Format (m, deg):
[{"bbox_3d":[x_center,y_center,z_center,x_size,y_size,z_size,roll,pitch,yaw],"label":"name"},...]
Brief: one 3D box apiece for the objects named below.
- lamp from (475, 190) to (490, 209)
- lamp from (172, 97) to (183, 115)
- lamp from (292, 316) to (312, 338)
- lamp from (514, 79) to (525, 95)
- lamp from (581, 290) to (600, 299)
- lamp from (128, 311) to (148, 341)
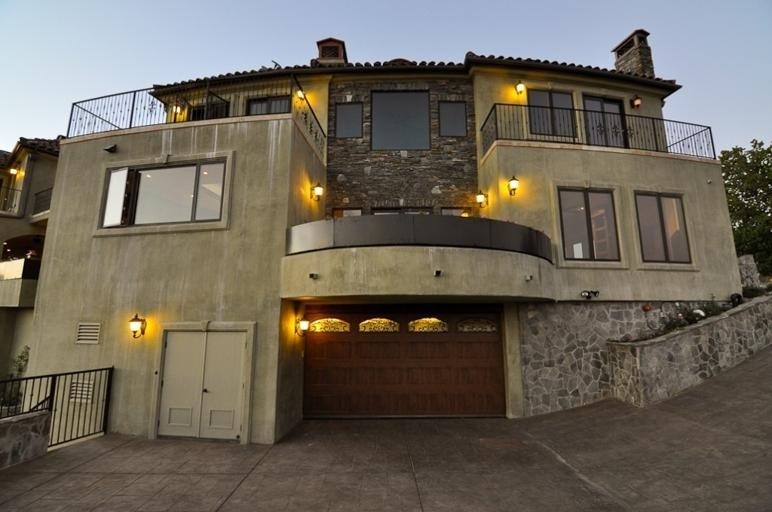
[{"bbox_3d":[3.375,-1.961,15.504,0.567,0.946,0.381,1,-1,-5],"label":"lamp"},{"bbox_3d":[-7.885,-5.725,16.893,0.364,0.627,0.860,-6,13,-25],"label":"lamp"},{"bbox_3d":[-2.558,2.251,14.105,0.514,0.723,0.741,-5,-5,32],"label":"lamp"},{"bbox_3d":[5.006,-6.215,16.323,0.462,0.502,0.254,-5,12,-19],"label":"lamp"},{"bbox_3d":[6.588,1.272,14.311,0.613,0.289,0.159,-4,11,-14],"label":"lamp"},{"bbox_3d":[-7.383,2.119,13.216,0.463,0.725,0.337,-7,13,-29],"label":"lamp"}]
